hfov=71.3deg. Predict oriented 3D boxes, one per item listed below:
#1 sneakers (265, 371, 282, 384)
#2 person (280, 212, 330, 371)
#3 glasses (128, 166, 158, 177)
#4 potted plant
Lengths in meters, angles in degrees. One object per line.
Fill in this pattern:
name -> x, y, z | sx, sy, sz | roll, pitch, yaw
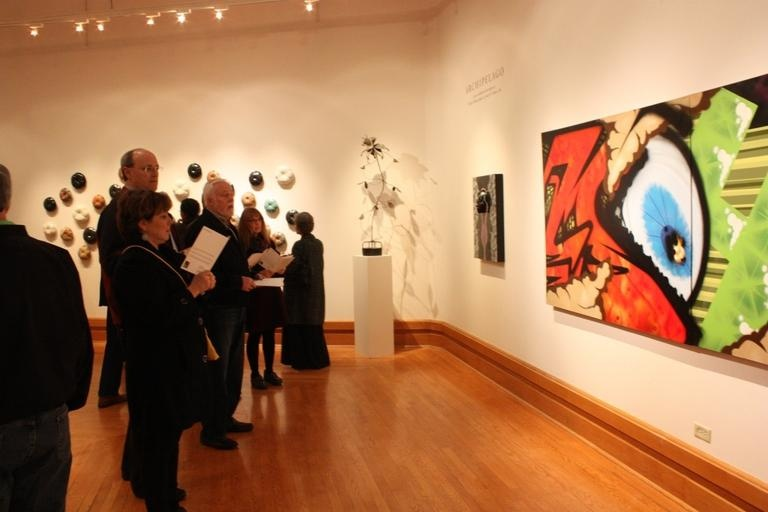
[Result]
sneakers -> -1.395, 1.512, 6.685 | 0.197, 0.160, 0.112 | 3, -1, 0
person -> -1.113, 0.473, 7.159 | 0.652, 2.082, 0.302 | -3, 8, -8
glasses -> -2.172, -0.772, 4.814 | 0.236, 0.095, 0.140 | -8, 11, -32
potted plant -> -0.093, -0.956, 8.338 | 0.638, 1.807, 0.315 | -1, 8, 0
